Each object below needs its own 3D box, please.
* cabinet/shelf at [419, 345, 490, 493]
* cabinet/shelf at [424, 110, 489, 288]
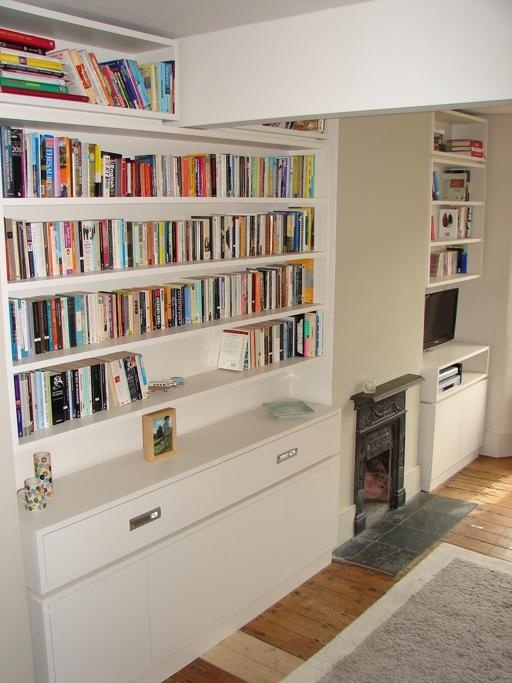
[{"bbox_3d":[1.661,0.660,4.473,0.372,0.897,0.972,7,17,35],"label":"cabinet/shelf"},{"bbox_3d":[1.673,-1.246,4.444,0.432,1.468,1.198,7,19,26],"label":"cabinet/shelf"}]
